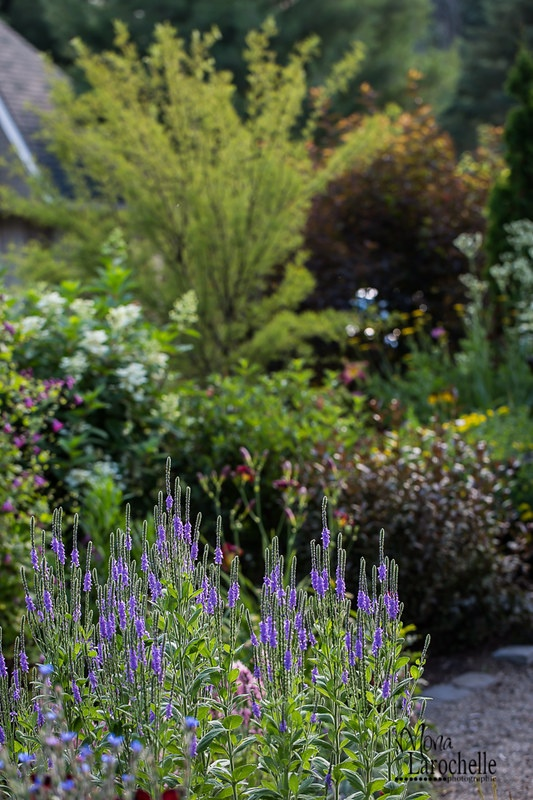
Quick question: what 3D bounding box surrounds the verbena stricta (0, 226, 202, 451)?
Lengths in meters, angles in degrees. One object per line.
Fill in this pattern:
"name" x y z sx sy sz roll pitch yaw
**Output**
"verbena stricta" -0.515 -0.188 3.792 0.724 0.742 0.699 10 0 23
